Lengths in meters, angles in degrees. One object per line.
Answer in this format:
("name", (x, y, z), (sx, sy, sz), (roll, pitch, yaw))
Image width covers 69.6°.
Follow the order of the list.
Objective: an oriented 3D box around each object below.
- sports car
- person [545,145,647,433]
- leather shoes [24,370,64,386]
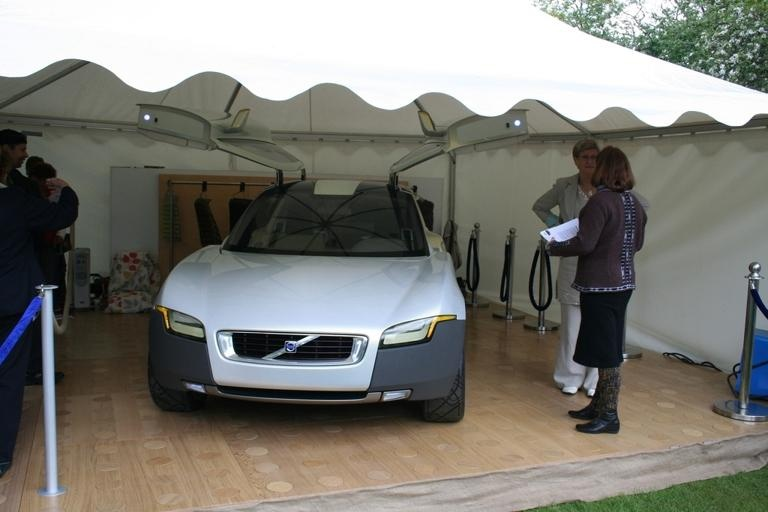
("sports car", (-0.613, 0.088, 6.030), (2.625, 1.772, 4.137), (1, 13, 1))
("person", (1.780, 0.279, 4.601), (0.733, 2.358, 0.423), (3, 8, 11))
("leather shoes", (-3.353, 1.212, 5.452), (0.264, 0.069, 0.154), (2, -2, -23))
